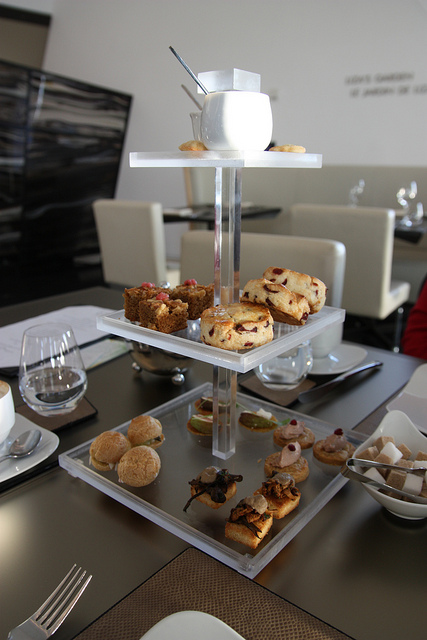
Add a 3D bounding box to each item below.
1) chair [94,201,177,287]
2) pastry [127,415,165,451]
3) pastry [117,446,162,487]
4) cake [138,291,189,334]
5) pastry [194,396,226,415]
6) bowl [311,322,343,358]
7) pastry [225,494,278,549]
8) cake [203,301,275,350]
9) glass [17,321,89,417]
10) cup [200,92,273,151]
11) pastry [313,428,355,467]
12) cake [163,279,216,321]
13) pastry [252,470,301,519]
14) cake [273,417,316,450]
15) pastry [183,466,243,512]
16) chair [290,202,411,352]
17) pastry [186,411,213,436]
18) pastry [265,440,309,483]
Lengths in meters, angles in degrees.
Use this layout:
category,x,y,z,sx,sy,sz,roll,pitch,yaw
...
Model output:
category,x,y,z,sx,sy,sz,roll,pitch,yaw
chair,-0.436,-0.381,2.443,0.484,0.446,0.228,10,18,33
pastry,-0.077,0.126,0.541,0.035,0.026,0.036,6,2,37
pastry,-0.075,0.145,0.467,0.043,0.034,0.037,12,17,37
cake,-0.055,-0.009,0.502,0.050,0.037,0.052,1,12,2
pastry,-0.004,0.107,0.583,0.037,0.012,0.036,8,3,-6
bowl,0.204,0.032,0.841,0.056,0.051,0.063,-2,13,3
pastry,0.030,0.161,0.390,0.031,0.025,0.038,11,17,29
cake,0.020,0.003,0.450,0.079,0.029,0.078,-9,18,-31
glass,-0.194,0.061,0.605,0.067,0.126,0.073,6,17,17
cup,0.020,-0.180,0.448,0.065,0.048,0.058,-21,32,-38
pastry,0.132,0.144,0.519,0.039,0.035,0.049,13,17,37
cake,-0.033,-0.030,0.572,0.059,0.039,0.060,11,12,22
pastry,0.063,0.164,0.442,0.047,0.035,0.047,-4,-2,1
cake,0.096,0.136,0.554,0.036,0.022,0.037,7,15,24
pastry,0.000,0.151,0.459,0.053,0.032,0.056,8,12,34
chair,0.655,-0.237,2.275,0.435,0.619,0.357,7,17,23
pastry,-0.016,0.129,0.590,0.025,0.008,0.026,9,9,34
pastry,0.080,0.148,0.487,0.038,0.027,0.038,-1,7,-8
